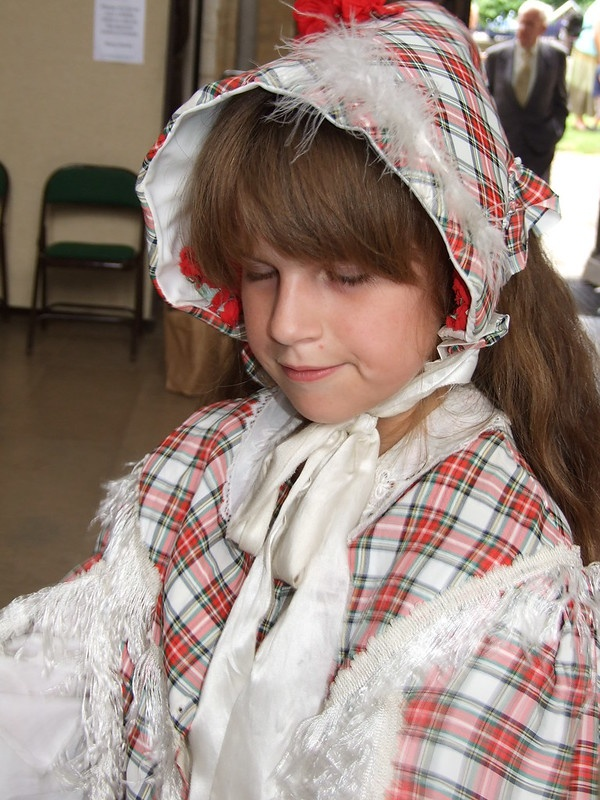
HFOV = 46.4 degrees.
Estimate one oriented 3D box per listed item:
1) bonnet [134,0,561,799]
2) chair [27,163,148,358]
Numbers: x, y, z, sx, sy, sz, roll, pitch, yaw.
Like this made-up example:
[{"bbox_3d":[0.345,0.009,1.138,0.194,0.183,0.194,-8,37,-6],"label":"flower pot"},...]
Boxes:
[{"bbox_3d":[-0.011,0.014,0.744,0.380,0.752,0.215,4,9,-22],"label":"bonnet"},{"bbox_3d":[-0.328,-0.213,1.086,0.157,0.268,0.144,1,-1,-16],"label":"chair"}]
